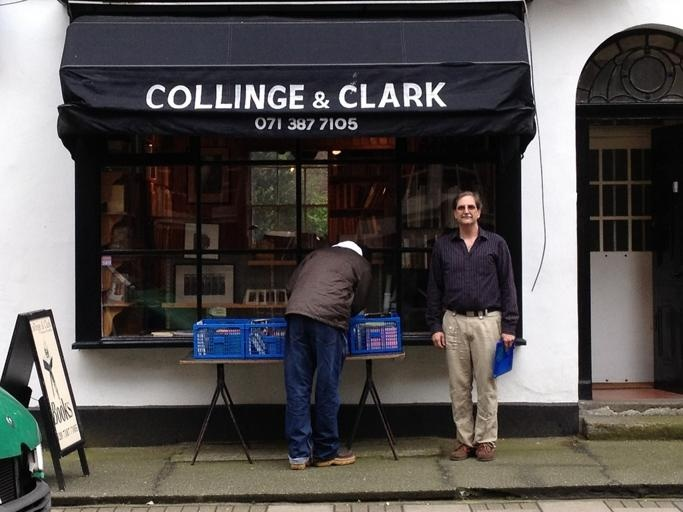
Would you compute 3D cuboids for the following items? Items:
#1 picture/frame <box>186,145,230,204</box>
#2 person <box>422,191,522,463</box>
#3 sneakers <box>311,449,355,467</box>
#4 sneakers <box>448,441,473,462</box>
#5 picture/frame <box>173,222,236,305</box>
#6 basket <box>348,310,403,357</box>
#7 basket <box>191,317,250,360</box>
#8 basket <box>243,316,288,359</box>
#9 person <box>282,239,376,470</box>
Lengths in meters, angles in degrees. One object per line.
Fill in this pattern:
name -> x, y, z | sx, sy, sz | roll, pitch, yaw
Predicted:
picture/frame -> -1.399, -0.834, 9.183 | 0.464, 0.645, 0.016 | -3, 27, -14
person -> 1.287, 0.677, 8.596 | 0.868, 2.596, 0.329 | -2, 2, 5
sneakers -> -0.068, 1.967, 8.481 | 0.359, 0.175, 0.170 | -5, 1, -23
sneakers -> 1.178, 1.920, 8.596 | 0.107, 0.126, 0.281 | -5, -11, 35
picture/frame -> -1.447, 0.078, 9.203 | 0.599, 0.853, 0.117 | -2, 2, 9
basket -> 0.339, 0.767, 8.588 | 0.606, 0.446, 0.353 | 0, -2, -3
basket -> -1.181, 0.811, 8.640 | 0.390, 0.291, 0.400 | 0, -2, -1
basket -> -0.743, 0.781, 8.548 | 0.370, 0.402, 0.340 | 0, 1, -5
person -> -0.148, 0.953, 8.457 | 0.837, 2.121, 0.455 | -3, 2, -5
